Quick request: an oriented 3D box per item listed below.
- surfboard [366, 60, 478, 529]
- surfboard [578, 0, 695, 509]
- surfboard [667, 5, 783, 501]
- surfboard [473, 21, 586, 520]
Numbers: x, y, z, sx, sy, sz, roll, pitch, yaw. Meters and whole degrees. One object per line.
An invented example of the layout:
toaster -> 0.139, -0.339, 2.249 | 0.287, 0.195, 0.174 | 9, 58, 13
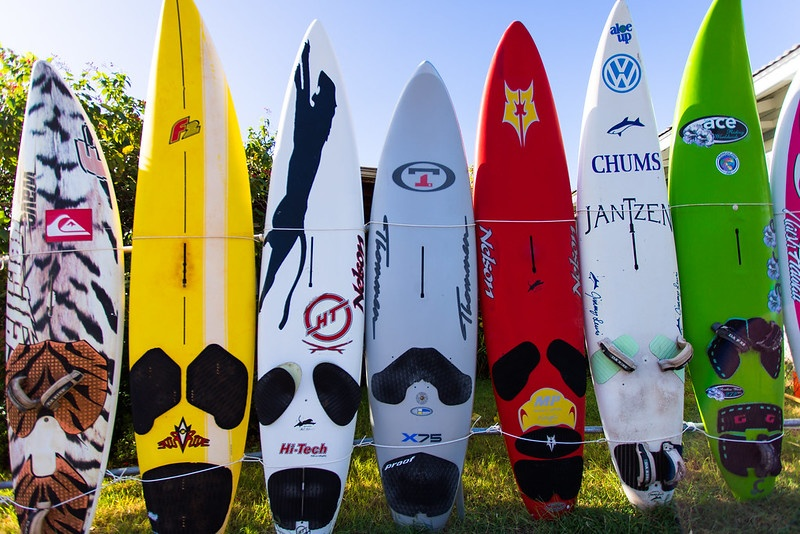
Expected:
surfboard -> 0.158, 0.181, 5.430 | 0.839, 3.397, 1.084 | -1, 13, 0
surfboard -> 1.824, 0.110, 5.434 | 0.661, 3.982, 0.843 | -1, -2, 3
surfboard -> 2.541, 0.080, 5.470 | 0.604, 3.915, 0.523 | -1, 1, 6
surfboard -> 1.050, -0.081, 5.714 | 0.826, 4.573, 0.340 | 2, -34, 0
